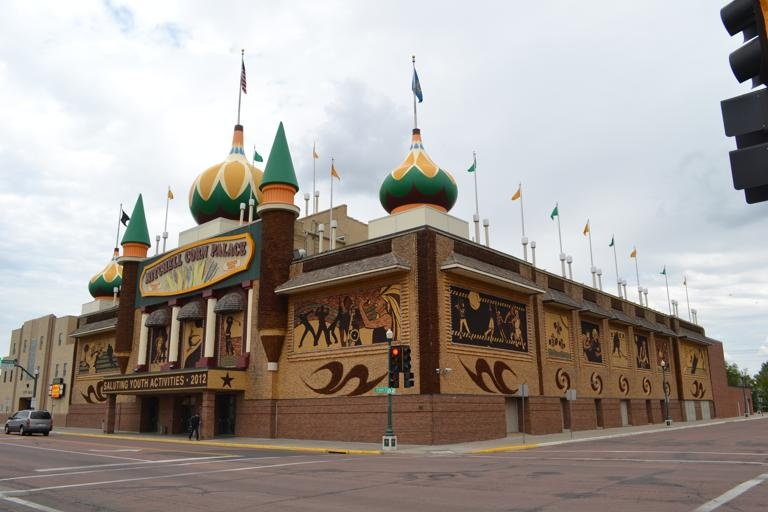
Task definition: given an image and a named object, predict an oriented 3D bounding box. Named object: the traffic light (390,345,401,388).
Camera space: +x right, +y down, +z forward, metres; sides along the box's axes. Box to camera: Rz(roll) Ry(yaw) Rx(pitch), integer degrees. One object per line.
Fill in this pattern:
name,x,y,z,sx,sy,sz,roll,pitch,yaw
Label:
traffic light,0.584,5.811,30.537,0.616,1.985,0.953,0,-19,-4
